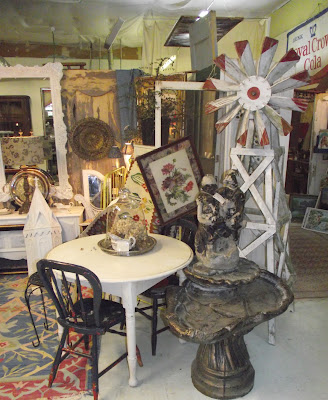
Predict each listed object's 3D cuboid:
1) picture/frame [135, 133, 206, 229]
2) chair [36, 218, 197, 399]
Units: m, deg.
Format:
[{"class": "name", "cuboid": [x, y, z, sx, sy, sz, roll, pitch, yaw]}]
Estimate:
[{"class": "picture/frame", "cuboid": [0.062, -0.145, 3.137, 0.767, 0.823, 0.040, -23, 8, -12]}, {"class": "chair", "cuboid": [-0.367, 0.746, 2.669, 1.045, 0.681, 1.008, 10, 22, 26]}]
